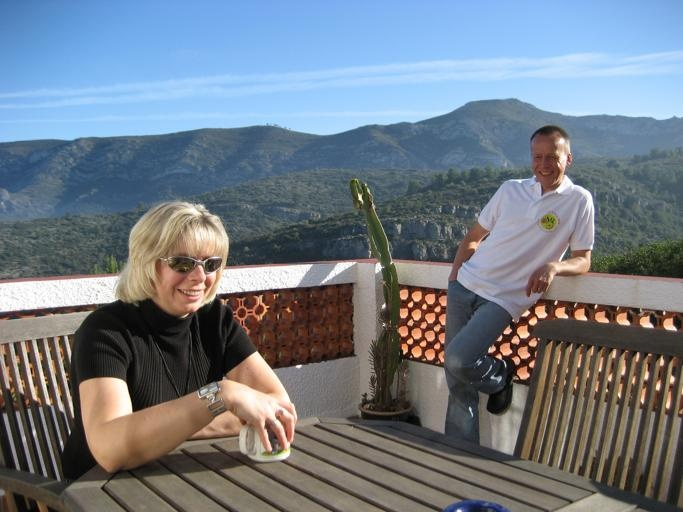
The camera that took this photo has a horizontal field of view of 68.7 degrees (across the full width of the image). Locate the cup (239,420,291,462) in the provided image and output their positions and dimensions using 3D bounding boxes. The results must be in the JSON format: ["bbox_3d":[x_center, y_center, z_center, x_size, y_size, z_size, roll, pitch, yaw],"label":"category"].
[{"bbox_3d":[-0.210,0.518,1.430,0.136,0.125,0.098,2,16,-9],"label":"cup"}]

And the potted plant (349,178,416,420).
[{"bbox_3d":[0.303,0.350,3.765,0.395,1.876,0.615,-3,6,2],"label":"potted plant"}]

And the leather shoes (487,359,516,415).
[{"bbox_3d":[0.982,0.822,3.142,0.147,0.387,0.148,0,7,-36],"label":"leather shoes"}]

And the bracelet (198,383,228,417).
[{"bbox_3d":[-0.359,0.408,1.388,0.060,0.088,0.088,-24,24,-24],"label":"bracelet"}]
